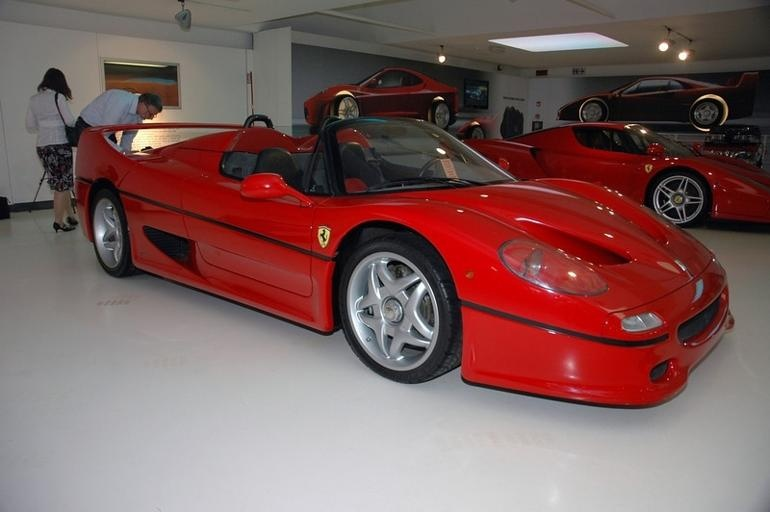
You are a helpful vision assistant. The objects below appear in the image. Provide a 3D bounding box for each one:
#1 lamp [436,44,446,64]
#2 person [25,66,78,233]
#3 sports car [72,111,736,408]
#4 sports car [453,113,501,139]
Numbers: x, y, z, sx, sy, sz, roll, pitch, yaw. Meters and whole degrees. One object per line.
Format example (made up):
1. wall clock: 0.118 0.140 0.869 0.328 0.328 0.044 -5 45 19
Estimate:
1. lamp: 1.505 -5.480 11.794 0.331 0.591 0.326 2 17 6
2. person: -4.600 -1.504 6.032 0.578 2.160 1.271 -10 19 -36
3. sports car: -0.396 -0.274 3.223 4.837 1.424 1.625 11 18 33
4. sports car: 2.577 -3.679 12.446 1.139 0.732 2.161 3 16 22
